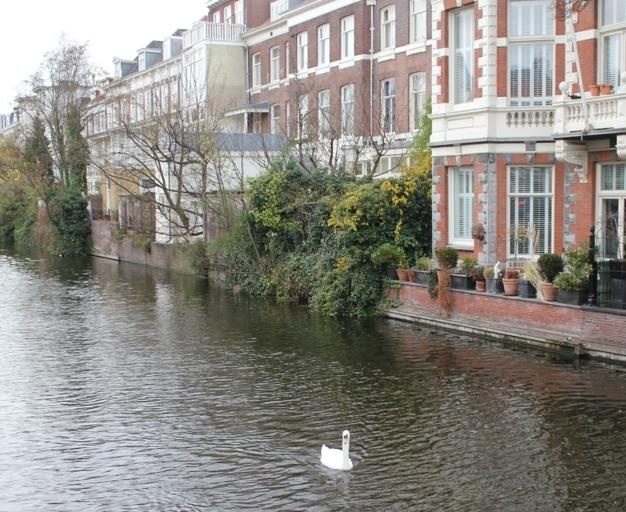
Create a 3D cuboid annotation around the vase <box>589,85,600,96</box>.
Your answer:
[{"bbox_3d":[7.869,-4.670,24.046,0.257,0.218,0.269,1,-4,-6],"label":"vase"}]

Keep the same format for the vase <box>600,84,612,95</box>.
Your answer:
[{"bbox_3d":[8.139,-4.669,23.914,0.294,0.248,0.310,1,2,38],"label":"vase"}]

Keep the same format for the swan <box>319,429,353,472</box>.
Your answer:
[{"bbox_3d":[0.424,3.446,14.930,0.379,0.654,0.813,-1,4,-21],"label":"swan"}]
